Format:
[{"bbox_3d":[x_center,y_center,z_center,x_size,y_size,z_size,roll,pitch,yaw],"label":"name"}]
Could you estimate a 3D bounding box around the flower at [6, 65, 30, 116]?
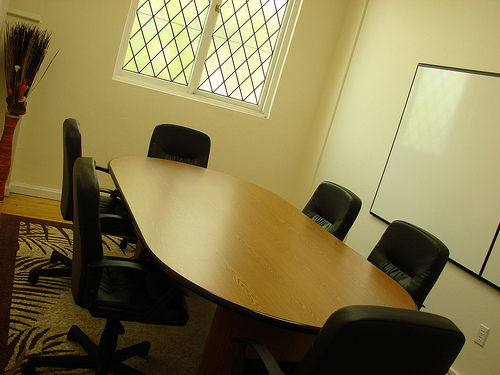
[{"bbox_3d":[-2.266,-0.930,3.618,0.174,0.464,0.118,6,15,-29],"label":"flower"}]
